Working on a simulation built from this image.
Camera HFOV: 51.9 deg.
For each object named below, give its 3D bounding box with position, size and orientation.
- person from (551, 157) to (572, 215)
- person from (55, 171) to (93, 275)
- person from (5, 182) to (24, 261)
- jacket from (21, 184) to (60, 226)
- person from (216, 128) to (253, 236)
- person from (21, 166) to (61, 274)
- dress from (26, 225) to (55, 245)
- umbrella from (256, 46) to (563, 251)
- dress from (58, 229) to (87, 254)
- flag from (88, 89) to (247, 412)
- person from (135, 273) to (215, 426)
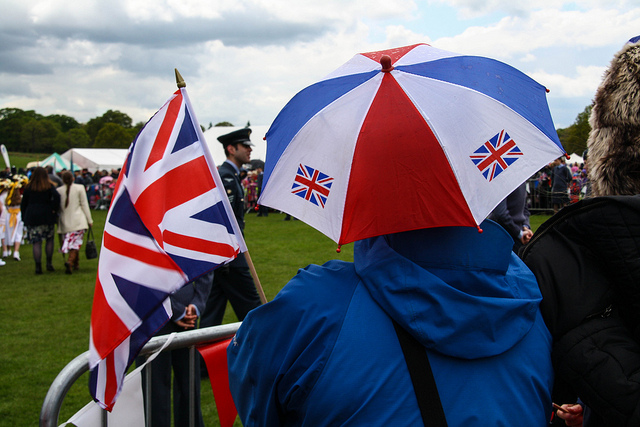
[{"bbox_3d":[4.360,-0.500,12.026,0.323,1.057,0.383,2,-17,34],"label":"person"},{"bbox_3d":[-4.094,0.126,10.897,0.584,1.693,0.525,0,1,-14],"label":"person"},{"bbox_3d":[-5.856,0.119,12.561,0.308,1.472,0.546,0,1,-27],"label":"person"},{"bbox_3d":[-4.645,-0.166,10.897,0.640,0.684,0.351,0,1,-11],"label":"jacket"},{"bbox_3d":[-0.858,-0.340,6.593,0.336,1.092,1.753,0,2,-7],"label":"person"},{"bbox_3d":[-4.633,0.085,10.920,0.579,1.776,0.498,0,1,-27],"label":"person"},{"bbox_3d":[-4.619,0.308,10.841,0.308,0.275,0.330,0,-11,-7],"label":"dress"},{"bbox_3d":[0.482,-0.141,3.659,1.148,1.228,0.509,24,-18,28],"label":"umbrella"},{"bbox_3d":[-4.244,0.456,11.217,0.341,0.454,0.447,-4,-31,-4],"label":"dress"},{"bbox_3d":[-0.963,0.165,4.040,0.858,1.907,0.438,0,1,-22],"label":"flag"},{"bbox_3d":[-1.044,0.948,4.646,0.416,1.237,1.529,0,2,-11],"label":"person"}]
